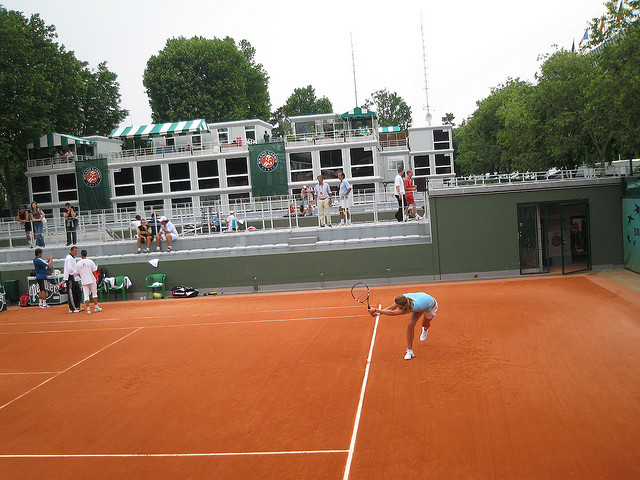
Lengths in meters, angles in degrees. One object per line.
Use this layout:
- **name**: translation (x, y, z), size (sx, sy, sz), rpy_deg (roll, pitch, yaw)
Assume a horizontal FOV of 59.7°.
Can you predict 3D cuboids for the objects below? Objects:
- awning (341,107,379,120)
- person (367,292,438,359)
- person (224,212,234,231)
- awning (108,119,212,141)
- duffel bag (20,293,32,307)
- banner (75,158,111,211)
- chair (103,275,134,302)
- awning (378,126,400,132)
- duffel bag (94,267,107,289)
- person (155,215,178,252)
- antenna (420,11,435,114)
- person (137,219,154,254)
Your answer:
- **awning**: translation (2.854, -9.184, 40.257), size (2.362, 0.889, 2.682), rpy_deg (-3, 10, 5)
- **person**: translation (2.274, 2.081, 13.640), size (0.825, 1.683, 2.386), rpy_deg (2, 11, 28)
- **person**: translation (-4.430, -1.032, 28.366), size (0.284, 0.936, 1.569), rpy_deg (-5, 10, -9)
- **awning**: translation (-11.727, -8.249, 41.450), size (6.682, 1.170, 4.256), rpy_deg (1, 11, 26)
- **duffel bag**: translation (-12.818, 2.618, 24.522), size (0.387, 0.574, 0.713), rpy_deg (-10, 12, -34)
- **banner**: translation (-15.245, -3.832, 38.056), size (2.469, 3.395, 0.993), rpy_deg (1, 10, 22)
- **chair**: translation (-8.838, 2.002, 25.017), size (1.334, 1.452, 0.987), rpy_deg (0, -12, -5)
- **awning**: translation (7.392, -12.018, 60.253), size (1.675, 0.517, 6.169), rpy_deg (-3, 10, 3)
- **duffel bag**: translation (-9.668, 1.660, 24.806), size (0.632, 1.003, 0.334), rpy_deg (7, -3, 33)
- **person**: translation (-7.090, -0.322, 25.944), size (0.983, 1.572, 1.033), rpy_deg (3, 12, 32)
- **antenna**: translation (4.049, -6.455, 21.541), size (0.783, 0.841, 5.154), rpy_deg (-2, -22, 12)
- **person**: translation (-8.055, -0.198, 25.895), size (0.736, 1.475, 0.938), rpy_deg (-3, 10, 2)
